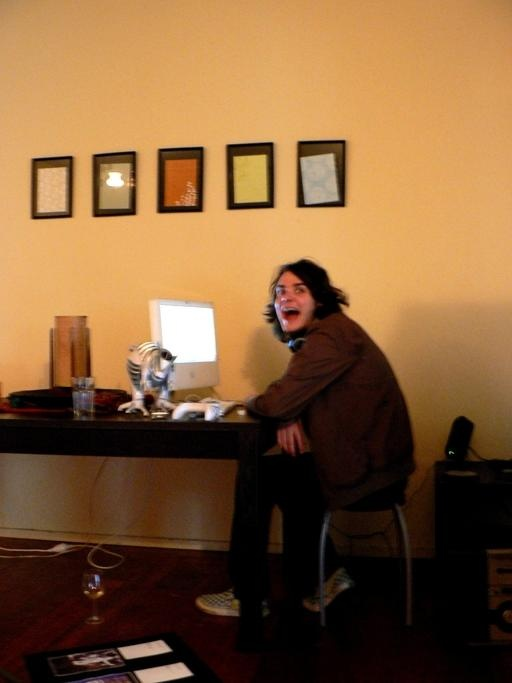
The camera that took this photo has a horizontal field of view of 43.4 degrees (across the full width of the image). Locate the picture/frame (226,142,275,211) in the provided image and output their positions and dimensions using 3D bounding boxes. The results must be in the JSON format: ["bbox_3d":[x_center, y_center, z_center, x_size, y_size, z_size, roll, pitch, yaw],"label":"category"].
[{"bbox_3d":[-0.023,-0.716,2.781,0.223,0.263,0.027,-9,24,-18],"label":"picture/frame"}]

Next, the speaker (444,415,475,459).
[{"bbox_3d":[0.817,0.379,2.543,0.110,0.171,0.097,12,-9,30],"label":"speaker"}]

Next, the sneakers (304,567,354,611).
[{"bbox_3d":[0.260,0.840,2.220,0.188,0.049,0.085,-31,22,-35],"label":"sneakers"}]

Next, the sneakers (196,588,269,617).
[{"bbox_3d":[-0.073,0.848,2.178,0.251,0.093,0.113,0,-7,13],"label":"sneakers"}]

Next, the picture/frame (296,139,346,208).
[{"bbox_3d":[0.269,-0.708,2.727,0.225,0.272,0.029,-9,20,-18],"label":"picture/frame"}]

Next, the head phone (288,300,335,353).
[{"bbox_3d":[0.185,-0.049,2.279,0.164,0.060,0.120,-42,10,-18],"label":"head phone"}]

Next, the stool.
[{"bbox_3d":[0.360,0.714,2.060,0.345,0.428,0.278,-3,-7,10],"label":"stool"}]

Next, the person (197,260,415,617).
[{"bbox_3d":[0.153,0.311,2.135,0.573,1.182,0.554,0,0,-26],"label":"person"}]

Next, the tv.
[{"bbox_3d":[-0.259,-0.029,2.378,0.038,0.249,0.373,-5,-4,29],"label":"tv"}]
